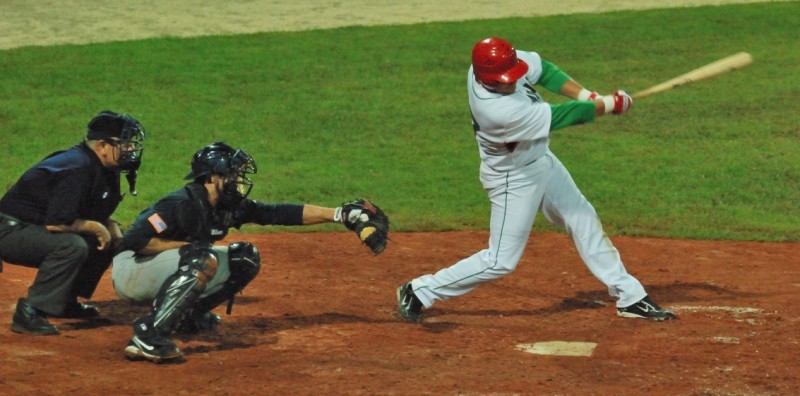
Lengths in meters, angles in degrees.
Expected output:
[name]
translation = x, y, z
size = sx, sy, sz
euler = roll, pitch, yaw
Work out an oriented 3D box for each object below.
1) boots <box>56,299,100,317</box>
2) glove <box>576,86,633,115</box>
[boots]
translation = -6.305, 2.202, 22.526
size = 0.760, 0.443, 0.236
euler = -5, 38, -11
[glove]
translation = 3.950, -1.865, 22.313
size = 1.010, 0.471, 0.692
euler = 6, 12, 8
